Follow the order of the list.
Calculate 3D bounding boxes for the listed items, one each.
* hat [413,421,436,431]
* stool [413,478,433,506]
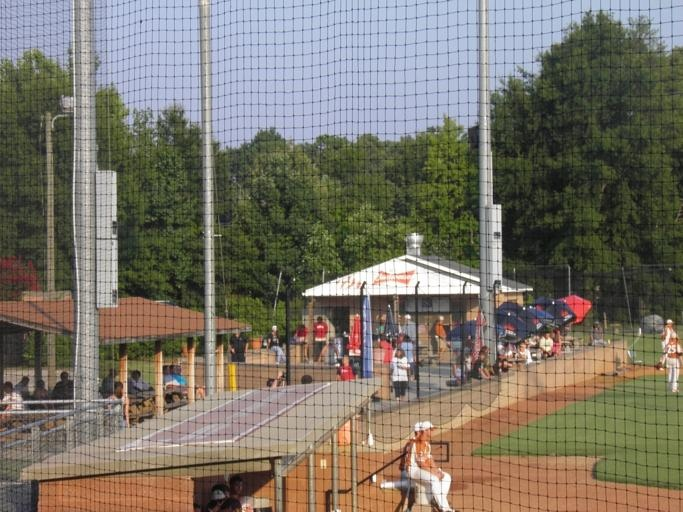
[{"bbox_3d":[1.836,3.728,29.541,0.308,0.120,0.321,-4,4,-34],"label":"hat"},{"bbox_3d":[1.807,5.203,29.687,0.372,0.886,0.405,-2,3,-38],"label":"stool"}]
